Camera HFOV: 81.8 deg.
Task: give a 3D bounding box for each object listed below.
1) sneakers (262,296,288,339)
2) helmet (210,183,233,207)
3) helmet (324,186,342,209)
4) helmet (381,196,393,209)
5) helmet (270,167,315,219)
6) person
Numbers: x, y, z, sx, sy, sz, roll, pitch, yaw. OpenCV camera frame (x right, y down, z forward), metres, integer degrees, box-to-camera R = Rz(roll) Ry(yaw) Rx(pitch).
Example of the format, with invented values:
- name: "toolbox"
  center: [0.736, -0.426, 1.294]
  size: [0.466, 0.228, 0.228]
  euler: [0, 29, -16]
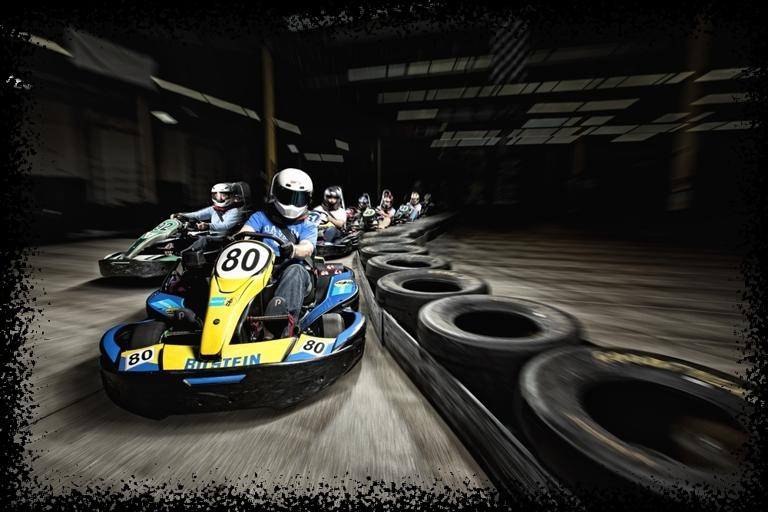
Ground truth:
- name: "sneakers"
  center: [-0.475, 0.256, 1.914]
  size: [0.100, 0.182, 0.068]
  euler: [-25, -35, 34]
- name: "helmet"
  center: [-1.264, -0.468, 3.390]
  size: [0.144, 0.157, 0.185]
  euler: [1, 5, -4]
- name: "helmet"
  center: [-0.484, -0.555, 4.140]
  size: [0.172, 0.202, 0.215]
  euler: [1, -5, -16]
- name: "helmet"
  center: [0.059, -0.874, 7.091]
  size: [0.145, 0.171, 0.183]
  euler: [3, 6, -14]
- name: "helmet"
  center: [-0.471, -0.313, 2.228]
  size: [0.234, 0.226, 0.256]
  euler: [5, 16, -26]
- name: "person"
  center: [-0.614, -0.108, 3.196]
  size: [1.068, 0.823, 1.821]
  euler: [1, 2, 5]
